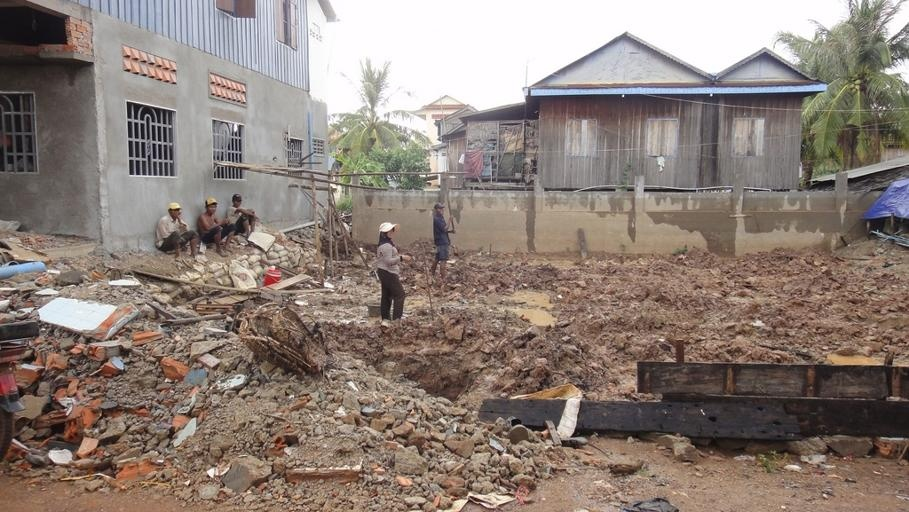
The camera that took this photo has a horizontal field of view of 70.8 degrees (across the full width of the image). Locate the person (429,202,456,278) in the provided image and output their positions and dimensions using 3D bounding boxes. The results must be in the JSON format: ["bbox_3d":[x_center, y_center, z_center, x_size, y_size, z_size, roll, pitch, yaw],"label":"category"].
[{"bbox_3d":[-0.451,-0.449,19.355,0.536,2.261,1.267,-1,6,-4],"label":"person"}]

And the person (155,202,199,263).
[{"bbox_3d":[-7.388,-0.678,16.934,1.009,1.416,0.555,-3,7,-21],"label":"person"}]

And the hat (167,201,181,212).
[{"bbox_3d":[-7.427,-1.310,16.770,0.374,0.173,0.253,-6,6,7],"label":"hat"}]

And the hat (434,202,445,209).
[{"bbox_3d":[-0.440,-1.503,18.927,0.328,0.146,0.424,1,4,12],"label":"hat"}]

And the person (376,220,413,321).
[{"bbox_3d":[-1.531,0.375,15.480,0.644,2.349,1.025,-2,6,-7],"label":"person"}]

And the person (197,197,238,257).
[{"bbox_3d":[-6.730,-0.837,17.866,1.005,1.548,0.745,-5,8,-37],"label":"person"}]

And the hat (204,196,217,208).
[{"bbox_3d":[-6.855,-1.538,17.996,0.285,0.198,0.369,0,-2,-31],"label":"hat"}]

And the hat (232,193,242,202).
[{"bbox_3d":[-6.518,-1.753,18.893,0.326,0.175,0.238,7,9,28],"label":"hat"}]

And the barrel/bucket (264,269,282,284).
[{"bbox_3d":[-4.954,0.569,17.553,0.510,0.440,0.471,10,1,0],"label":"barrel/bucket"}]
